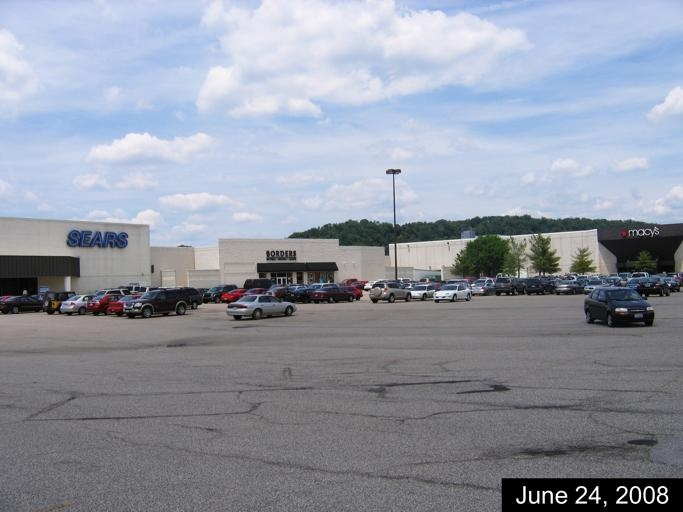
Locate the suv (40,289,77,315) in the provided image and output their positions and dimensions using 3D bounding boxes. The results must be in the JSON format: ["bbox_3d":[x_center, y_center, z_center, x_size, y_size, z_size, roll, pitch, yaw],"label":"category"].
[{"bbox_3d":[-18.955,3.064,42.888,1.415,1.257,2.366,2,4,34],"label":"suv"}]

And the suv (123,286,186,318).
[{"bbox_3d":[-10.754,2.595,35.901,1.563,1.372,3.170,-6,-8,40],"label":"suv"}]

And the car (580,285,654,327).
[{"bbox_3d":[9.965,1.791,23.113,1.280,0.889,2.345,0,-6,-10],"label":"car"}]

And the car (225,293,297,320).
[{"bbox_3d":[-4.133,2.547,32.080,3.128,0.877,1.327,-5,5,-43],"label":"car"}]

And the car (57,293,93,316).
[{"bbox_3d":[-17.052,3.117,40.716,1.024,0.786,2.289,0,3,7],"label":"car"}]

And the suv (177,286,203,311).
[{"bbox_3d":[-10.102,2.810,42.732,1.241,1.005,1.921,-2,-8,19],"label":"suv"}]

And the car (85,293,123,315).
[{"bbox_3d":[-15.075,3.059,40.471,1.230,0.849,2.624,1,4,26],"label":"car"}]

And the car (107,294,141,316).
[{"bbox_3d":[-13.077,2.917,37.657,1.219,0.809,2.531,-2,-4,7],"label":"car"}]
